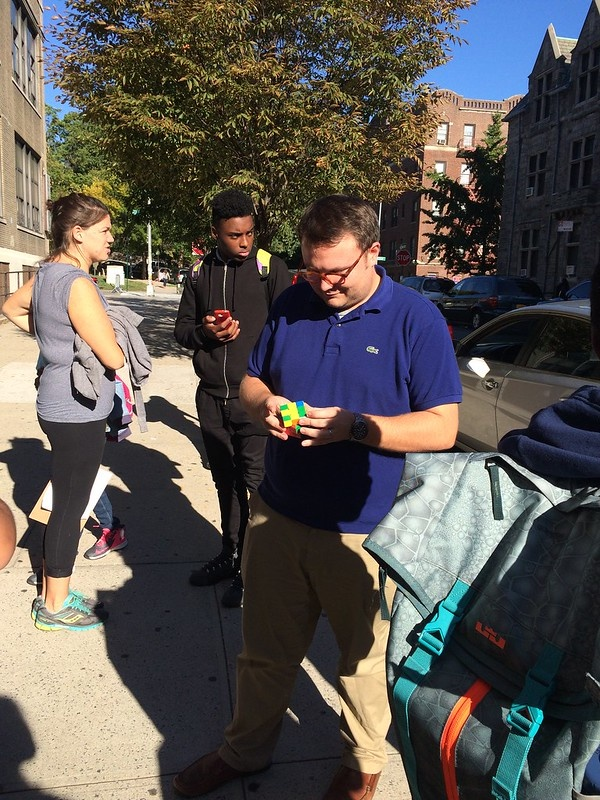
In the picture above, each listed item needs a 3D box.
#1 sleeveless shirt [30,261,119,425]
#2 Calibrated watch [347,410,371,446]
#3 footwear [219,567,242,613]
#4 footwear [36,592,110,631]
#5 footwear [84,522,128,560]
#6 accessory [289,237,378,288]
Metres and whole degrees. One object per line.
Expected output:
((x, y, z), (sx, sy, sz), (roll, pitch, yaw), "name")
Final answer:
((-1.051, -0.261, 2.690), (0.380, 0.708, 0.260), (4, 11, -9), "sleeveless shirt")
((0.162, 0.082, 1.618), (0.054, 0.078, 0.071), (3, 15, -11), "Calibrated watch")
((-0.367, 1.077, 3.334), (0.132, 0.144, 0.376), (12, 2, 3), "footwear")
((-1.145, 1.071, 2.957), (0.282, 0.125, 0.201), (1, 9, -24), "footwear")
((-1.210, 0.898, 3.795), (0.112, 0.143, 0.312), (13, 22, 33), "footwear")
((0.131, -0.421, 1.796), (0.174, 0.050, 0.170), (-40, 25, -31), "accessory")
